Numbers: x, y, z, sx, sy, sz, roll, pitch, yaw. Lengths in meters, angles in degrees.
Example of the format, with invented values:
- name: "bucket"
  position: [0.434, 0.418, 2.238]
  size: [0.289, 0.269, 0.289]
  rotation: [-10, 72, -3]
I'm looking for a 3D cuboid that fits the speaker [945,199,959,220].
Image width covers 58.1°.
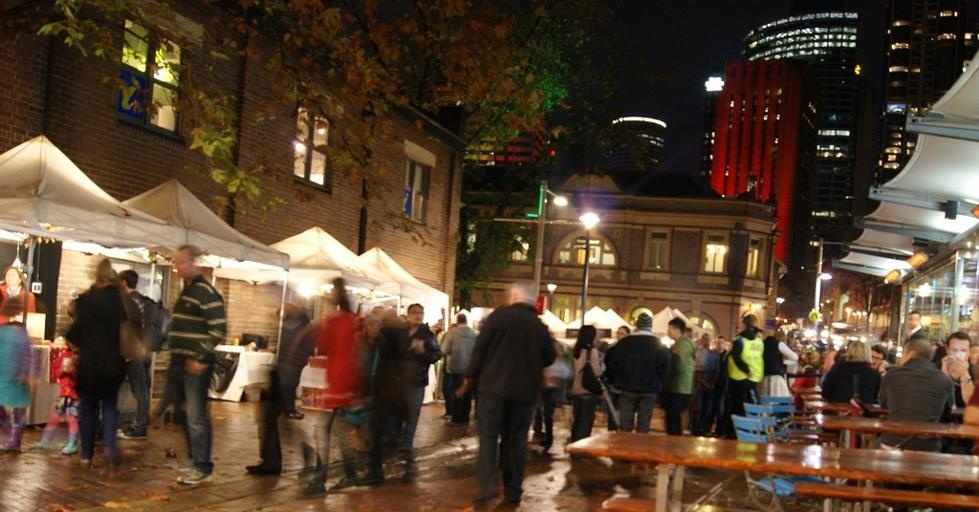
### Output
- name: "speaker"
  position: [11.987, -1.224, 22.830]
  size: [0.375, 0.442, 0.230]
  rotation: [0, -8, 24]

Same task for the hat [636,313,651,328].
- name: "hat"
  position: [3.557, 1.513, 20.247]
  size: [0.317, 0.345, 0.387]
  rotation: [3, -11, -10]

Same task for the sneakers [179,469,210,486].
- name: "sneakers"
  position: [-5.685, 4.296, 16.974]
  size: [0.622, 0.236, 0.264]
  rotation: [6, -10, -15]

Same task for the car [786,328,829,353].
- name: "car"
  position: [17.794, 4.744, 49.164]
  size: [2.809, 1.337, 3.384]
  rotation: [1, -3, 1]
